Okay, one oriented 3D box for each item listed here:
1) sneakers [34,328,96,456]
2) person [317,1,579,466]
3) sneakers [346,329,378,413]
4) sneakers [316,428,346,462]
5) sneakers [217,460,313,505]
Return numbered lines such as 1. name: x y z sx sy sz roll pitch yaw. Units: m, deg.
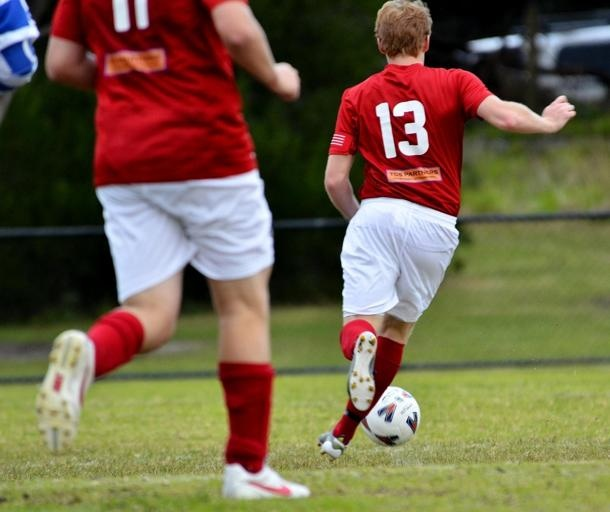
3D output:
1. sneakers: -0.915 0.495 4.121 0.169 0.497 0.240 12 7 9
2. person: 0.545 -0.266 5.187 0.855 1.887 0.622 -3 17 -13
3. sneakers: 0.254 0.533 4.724 0.118 0.380 0.160 2 16 2
4. sneakers: 0.119 0.906 5.016 0.073 0.087 0.146 -38 9 -19
5. sneakers: -0.170 0.940 4.362 0.388 0.172 0.143 3 -13 -9
